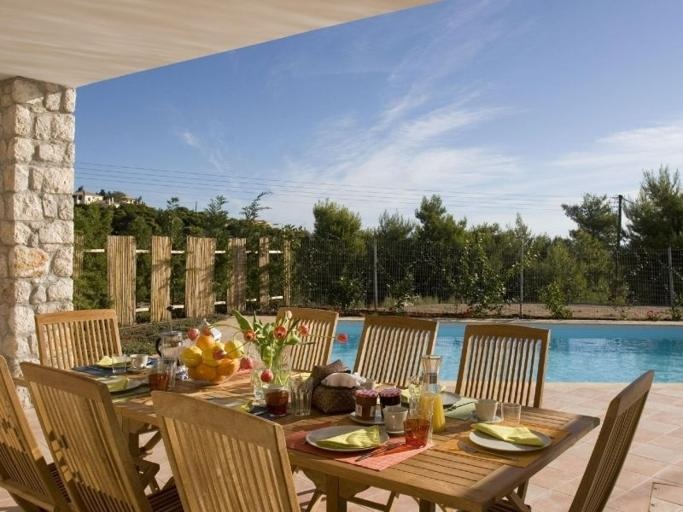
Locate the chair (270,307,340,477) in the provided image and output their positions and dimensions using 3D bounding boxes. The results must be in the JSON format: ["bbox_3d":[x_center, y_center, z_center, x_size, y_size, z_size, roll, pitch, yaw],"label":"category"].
[{"bbox_3d":[-0.249,0.718,3.681,0.291,0.628,0.307,1,3,-44],"label":"chair"}]

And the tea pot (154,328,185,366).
[{"bbox_3d":[-0.966,0.509,2.931,0.165,0.177,0.123,-1,7,-33],"label":"tea pot"}]

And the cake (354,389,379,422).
[{"bbox_3d":[0.114,0.658,2.333,0.117,0.112,0.111,-1,3,-23],"label":"cake"}]

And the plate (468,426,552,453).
[{"bbox_3d":[0.663,0.711,2.084,0.272,0.071,0.154,1,0,-9],"label":"plate"}]

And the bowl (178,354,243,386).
[{"bbox_3d":[-0.752,0.608,2.983,0.282,0.152,0.268,2,1,0],"label":"bowl"}]

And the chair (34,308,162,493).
[{"bbox_3d":[-1.597,0.645,3.774,0.925,1.541,0.954,4,2,38],"label":"chair"}]

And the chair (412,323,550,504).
[{"bbox_3d":[1.027,0.810,3.211,0.626,0.988,0.621,0,4,-37],"label":"chair"}]

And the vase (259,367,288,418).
[{"bbox_3d":[-0.306,0.678,2.473,0.131,0.139,0.144,-9,-17,17],"label":"vase"}]

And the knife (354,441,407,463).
[{"bbox_3d":[0.159,0.747,2.029,0.263,0.023,0.062,-5,10,-40],"label":"knife"}]

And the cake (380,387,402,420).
[{"bbox_3d":[0.212,0.665,2.366,0.102,0.114,0.113,-1,0,-5],"label":"cake"}]

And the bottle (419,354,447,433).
[{"bbox_3d":[0.398,0.615,2.335,0.152,0.320,0.148,1,-4,0],"label":"bottle"}]
